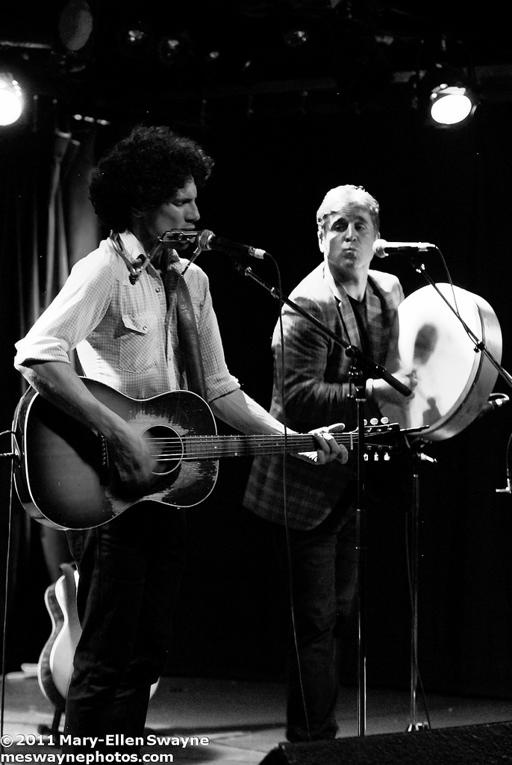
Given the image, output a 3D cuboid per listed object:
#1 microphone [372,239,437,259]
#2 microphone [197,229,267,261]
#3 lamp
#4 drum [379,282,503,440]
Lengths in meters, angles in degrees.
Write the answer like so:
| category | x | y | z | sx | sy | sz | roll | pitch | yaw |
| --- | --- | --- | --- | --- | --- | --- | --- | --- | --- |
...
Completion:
| category | x | y | z | sx | sy | sz | roll | pitch | yaw |
| --- | --- | --- | --- | --- | --- | --- | --- | --- | --- |
| microphone | 0.454 | -0.418 | 3.064 | 0.252 | 0.077 | 0.075 | -1 | -1 | -3 |
| microphone | -0.062 | -0.385 | 2.765 | 0.196 | 0.086 | 0.194 | 1 | -4 | 1 |
| lamp | 0.741 | -1.095 | 3.700 | 0.188 | 0.206 | 0.144 | 0 | -4 | 15 |
| drum | 0.653 | -0.091 | 3.435 | 0.329 | 0.586 | 0.434 | 3 | -4 | -26 |
